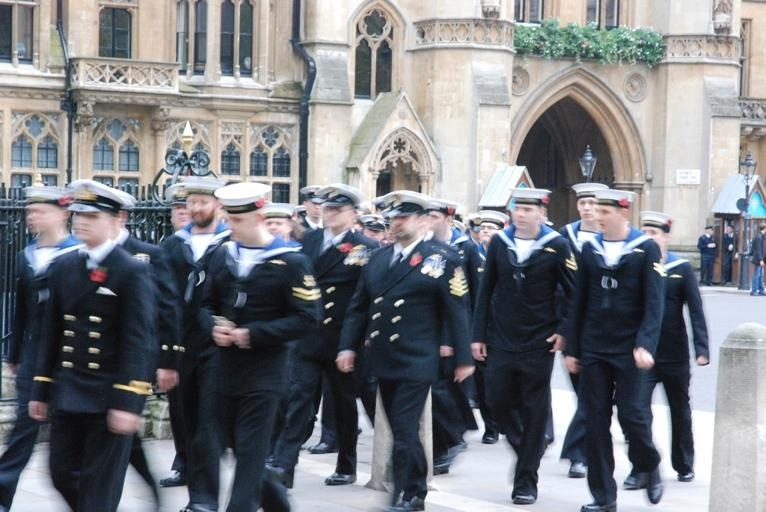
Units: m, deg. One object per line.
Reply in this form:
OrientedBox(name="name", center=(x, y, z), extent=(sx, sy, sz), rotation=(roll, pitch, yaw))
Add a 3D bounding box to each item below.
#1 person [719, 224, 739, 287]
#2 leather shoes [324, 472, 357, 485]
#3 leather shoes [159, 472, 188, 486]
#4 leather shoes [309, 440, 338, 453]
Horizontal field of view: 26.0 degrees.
OrientedBox(name="person", center=(8.691, -0.013, 41.499), extent=(0.403, 1.443, 0.439), rotation=(2, 2, 11))
OrientedBox(name="leather shoes", center=(-0.506, 2.677, 19.877), extent=(0.373, 0.115, 0.136), rotation=(4, -8, -17))
OrientedBox(name="leather shoes", center=(-2.469, 2.653, 19.630), extent=(0.384, 0.125, 0.134), rotation=(2, -5, 1))
OrientedBox(name="leather shoes", center=(-0.755, 2.428, 21.021), extent=(0.311, 0.102, 0.141), rotation=(6, -8, -13))
